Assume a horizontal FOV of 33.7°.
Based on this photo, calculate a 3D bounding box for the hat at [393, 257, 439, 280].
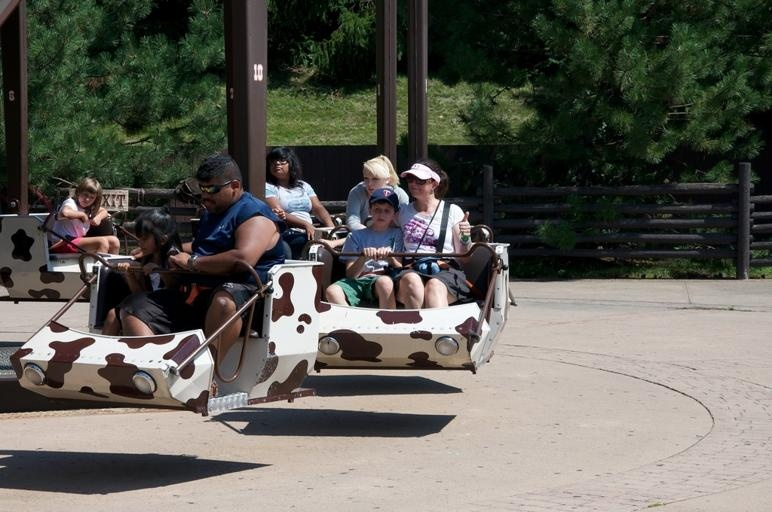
[{"bbox_3d":[0.355,0.122,13.691,0.373,0.157,0.251,-8,7,-12],"label":"hat"}]

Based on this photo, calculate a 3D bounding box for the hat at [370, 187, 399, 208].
[{"bbox_3d":[-0.005,-0.660,13.852,0.199,0.154,0.269,11,-13,11],"label":"hat"}]

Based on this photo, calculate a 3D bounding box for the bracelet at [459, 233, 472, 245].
[{"bbox_3d":[0.858,-0.191,13.840,0.108,0.122,0.102,-6,-12,18],"label":"bracelet"}]

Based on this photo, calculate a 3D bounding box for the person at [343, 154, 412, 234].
[{"bbox_3d":[-0.109,-0.667,15.306,0.715,0.960,1.036,-2,15,0],"label":"person"}]

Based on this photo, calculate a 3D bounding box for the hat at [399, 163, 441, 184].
[{"bbox_3d":[0.403,-0.875,13.882,0.214,0.109,0.336,9,-9,38],"label":"hat"}]

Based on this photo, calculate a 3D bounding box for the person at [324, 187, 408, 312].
[{"bbox_3d":[-0.227,-0.094,13.795,0.810,1.225,0.947,0,12,3],"label":"person"}]
